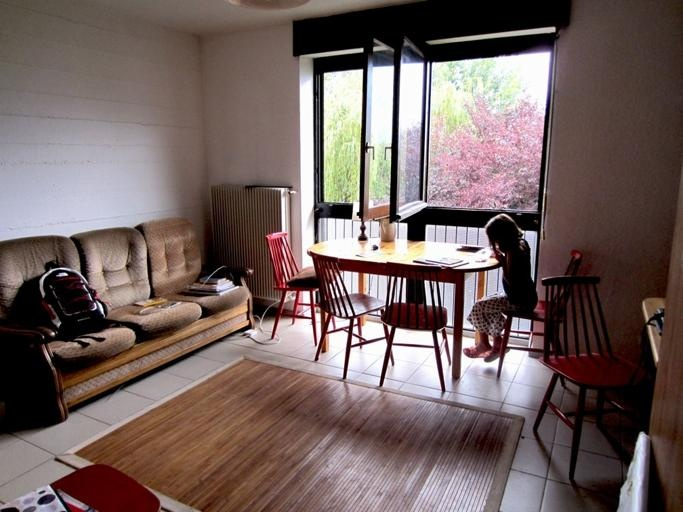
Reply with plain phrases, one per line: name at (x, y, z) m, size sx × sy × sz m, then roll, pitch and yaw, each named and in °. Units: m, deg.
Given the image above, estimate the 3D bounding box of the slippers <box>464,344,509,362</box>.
slippers at (1.180, 0.776, 3.771) m, size 0.273 × 0.077 × 0.134 m, roll -6°, pitch 10°, yaw -10°

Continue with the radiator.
radiator at (-0.858, -0.156, 4.686) m, size 1.045 × 1.306 × 0.173 m, roll 7°, pitch 15°, yaw 29°

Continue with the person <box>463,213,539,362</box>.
person at (1.227, 0.269, 3.602) m, size 0.544 × 1.215 × 0.396 m, roll 1°, pitch 12°, yaw 26°

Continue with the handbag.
handbag at (-1.965, 0.320, 3.448) m, size 0.387 × 0.465 × 0.430 m, roll 2°, pitch 13°, yaw 33°
